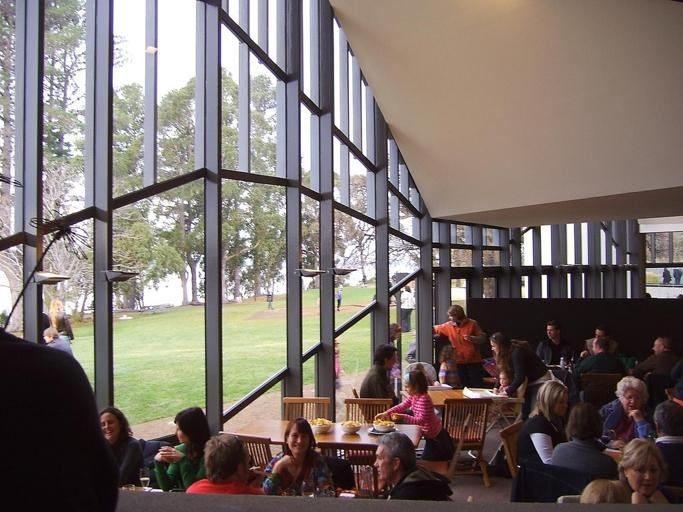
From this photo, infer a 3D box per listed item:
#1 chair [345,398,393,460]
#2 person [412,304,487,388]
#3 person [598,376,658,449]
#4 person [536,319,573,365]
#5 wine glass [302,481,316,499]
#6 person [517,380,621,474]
[{"bbox_3d":[0.222,1.653,6.079,0.380,0.628,0.387,-1,-16,6],"label":"chair"},{"bbox_3d":[1.598,1.384,9.133,0.887,1.628,0.776,-14,-27,34],"label":"person"},{"bbox_3d":[2.502,1.364,5.301,0.430,0.860,0.452,-13,-38,32],"label":"person"},{"bbox_3d":[2.941,1.313,8.471,0.575,0.776,0.465,-3,-12,24],"label":"person"},{"bbox_3d":[-0.207,1.458,3.811,0.080,0.074,0.071,0,-4,-3],"label":"wine glass"},{"bbox_3d":[1.610,1.279,4.573,0.800,0.812,0.576,-17,-22,39],"label":"person"}]
